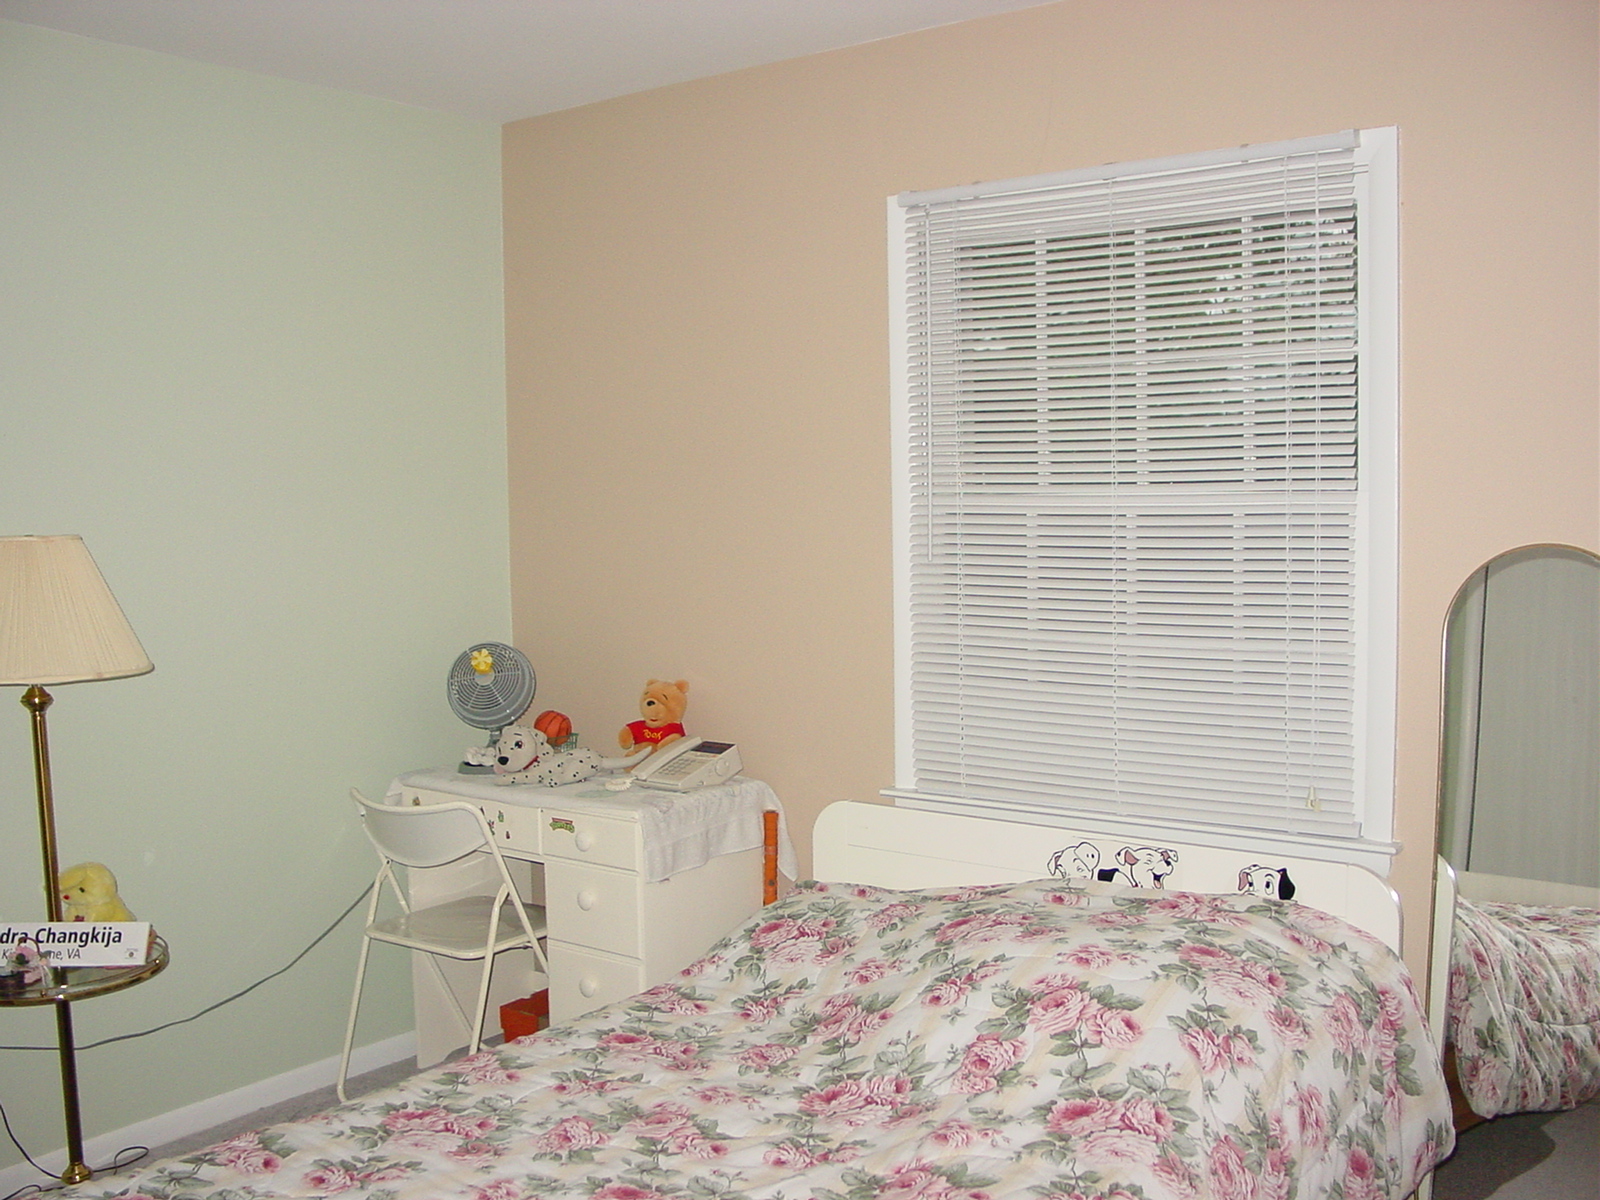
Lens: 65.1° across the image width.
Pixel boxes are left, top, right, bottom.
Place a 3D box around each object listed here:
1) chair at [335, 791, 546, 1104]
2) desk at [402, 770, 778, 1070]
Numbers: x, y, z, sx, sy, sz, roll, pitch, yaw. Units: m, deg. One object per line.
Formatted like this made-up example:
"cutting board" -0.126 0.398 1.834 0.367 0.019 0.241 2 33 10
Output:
"chair" -1.005 1.058 3.785 0.593 0.976 0.629 0 2 40
"desk" -0.706 0.713 4.016 1.181 1.093 0.796 1 2 36
